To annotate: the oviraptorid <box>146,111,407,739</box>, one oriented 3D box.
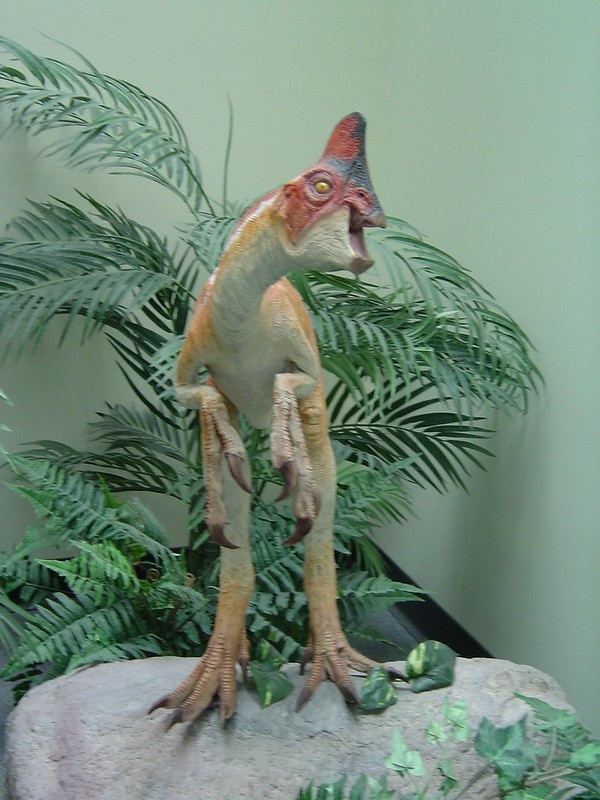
[{"bbox_3d":[-0.039,0.058,1.022,0.362,0.843,0.339,-3,14,-17],"label":"oviraptorid"}]
